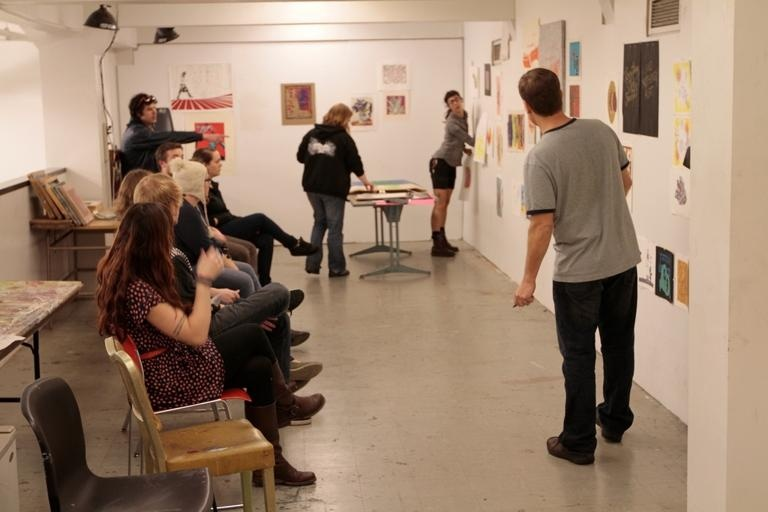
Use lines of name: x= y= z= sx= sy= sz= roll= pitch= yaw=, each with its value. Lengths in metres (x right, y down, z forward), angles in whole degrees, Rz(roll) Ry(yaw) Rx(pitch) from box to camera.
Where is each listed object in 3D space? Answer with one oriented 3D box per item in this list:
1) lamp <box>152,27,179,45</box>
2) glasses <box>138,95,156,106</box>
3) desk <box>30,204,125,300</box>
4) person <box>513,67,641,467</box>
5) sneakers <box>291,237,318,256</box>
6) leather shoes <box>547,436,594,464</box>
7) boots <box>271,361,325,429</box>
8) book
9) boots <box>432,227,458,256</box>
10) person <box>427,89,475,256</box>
lamp: x=-3.055 y=-3.080 z=8.561 sx=0.385 sy=0.178 sz=0.376 roll=-8 pitch=15 yaw=-23
glasses: x=-2.553 y=-1.694 z=6.660 sx=0.103 sy=0.062 sz=0.136 roll=1 pitch=8 yaw=8
desk: x=-3.250 y=-0.011 z=6.478 sx=0.971 sy=0.879 sz=0.949 roll=2 pitch=8 yaw=-2
person: x=1.091 y=0.067 z=3.516 sx=0.746 sy=2.218 sz=0.466 roll=5 pitch=15 yaw=22
sneakers: x=-0.911 y=-0.109 z=7.054 sx=0.360 sy=0.159 sz=0.139 roll=-13 pitch=15 yaw=-40
leather shoes: x=1.096 y=1.137 z=3.624 sx=0.111 sy=0.110 sz=0.266 roll=-3 pitch=4 yaw=-35
boots: x=-0.619 y=0.898 z=3.995 sx=0.509 sy=0.347 sz=0.182 roll=-6 pitch=14 yaw=-42
book: x=-3.225 y=-0.585 z=6.136 sx=0.535 sy=0.527 sz=0.391 roll=-7 pitch=15 yaw=-23
boots: x=0.825 y=-0.176 z=8.741 sx=0.477 sy=0.431 sz=0.245 roll=-2 pitch=12 yaw=-5
person: x=0.961 y=-1.166 z=8.644 sx=0.591 sy=2.268 sz=0.655 roll=1 pitch=14 yaw=7
